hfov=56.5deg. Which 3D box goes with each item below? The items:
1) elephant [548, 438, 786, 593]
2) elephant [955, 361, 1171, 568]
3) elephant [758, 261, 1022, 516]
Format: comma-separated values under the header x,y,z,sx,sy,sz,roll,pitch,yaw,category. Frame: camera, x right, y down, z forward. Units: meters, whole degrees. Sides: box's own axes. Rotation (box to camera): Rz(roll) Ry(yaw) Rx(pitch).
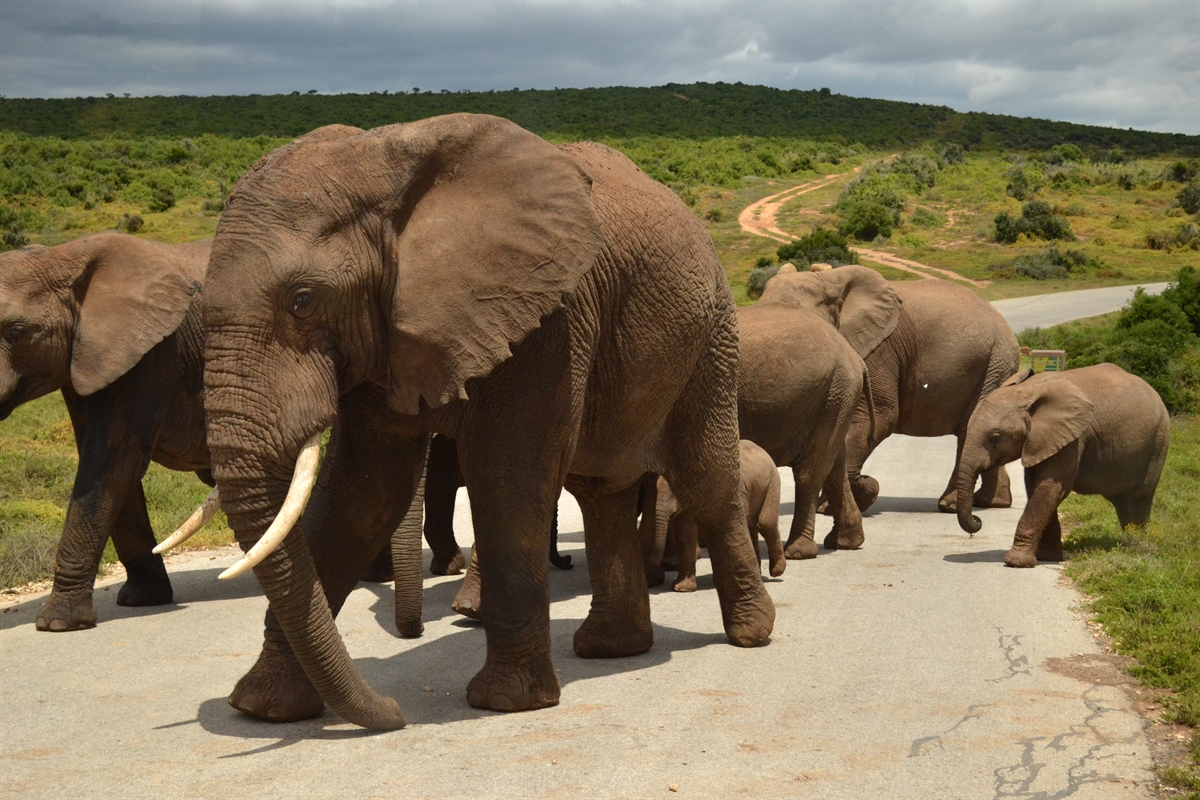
x,y,z,sx,sy,sz,roll,pitch,yaw,category
0.940,0.970,9.655,0.952,1.413,1.829,1,3,45,elephant
4.468,0.609,10.858,2.262,1.950,1.155,-3,7,-11,elephant
3.591,-0.053,14.085,4.160,2.538,1.948,8,-7,39,elephant
